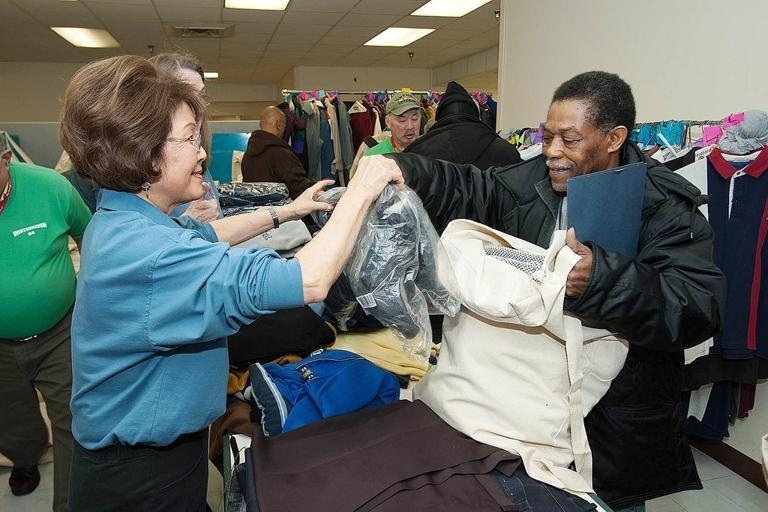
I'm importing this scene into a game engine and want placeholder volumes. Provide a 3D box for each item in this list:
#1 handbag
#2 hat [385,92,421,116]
[{"bbox_3d":[0.454,0.390,1.947,0.656,0.707,0.498,-5,-24,34],"label":"handbag"},{"bbox_3d":[0.118,-1.145,4.108,0.175,0.123,0.233,-12,10,-14],"label":"hat"}]
